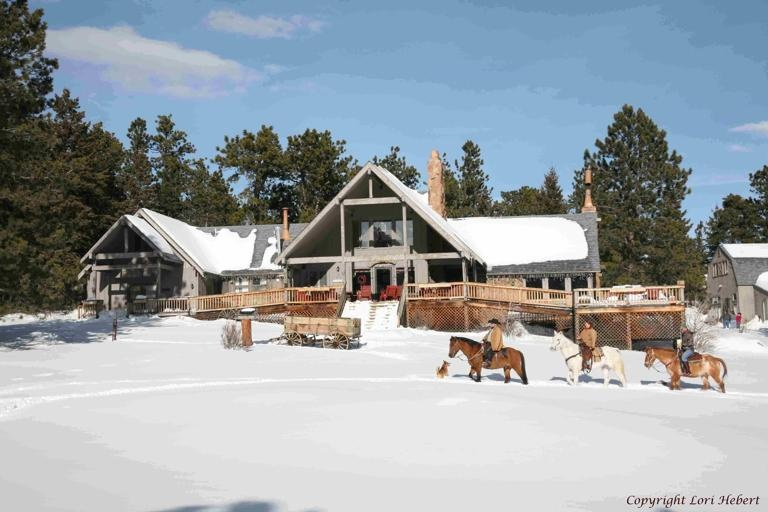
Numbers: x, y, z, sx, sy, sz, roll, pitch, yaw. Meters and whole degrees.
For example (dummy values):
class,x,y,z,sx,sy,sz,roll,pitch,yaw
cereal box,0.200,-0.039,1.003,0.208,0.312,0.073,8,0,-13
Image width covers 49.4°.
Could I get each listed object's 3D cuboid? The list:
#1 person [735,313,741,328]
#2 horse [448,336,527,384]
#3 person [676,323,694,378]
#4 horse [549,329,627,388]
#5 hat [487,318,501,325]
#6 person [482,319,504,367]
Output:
class,x,y,z,sx,sy,sz,roll,pitch,yaw
person,26.015,4.801,61.449,0.281,1.126,1.531,2,5,20
horse,4.052,4.090,32.179,3.083,2.061,0.922,2,3,-1
person,11.185,3.604,30.967,0.604,1.554,0.611,4,6,42
horse,7.793,3.940,32.325,3.033,2.190,2.342,-1,5,-8
hat,4.274,2.530,31.634,0.503,0.174,0.498,3,-1,-43
person,4.114,3.317,31.834,0.777,1.812,0.712,1,5,12
